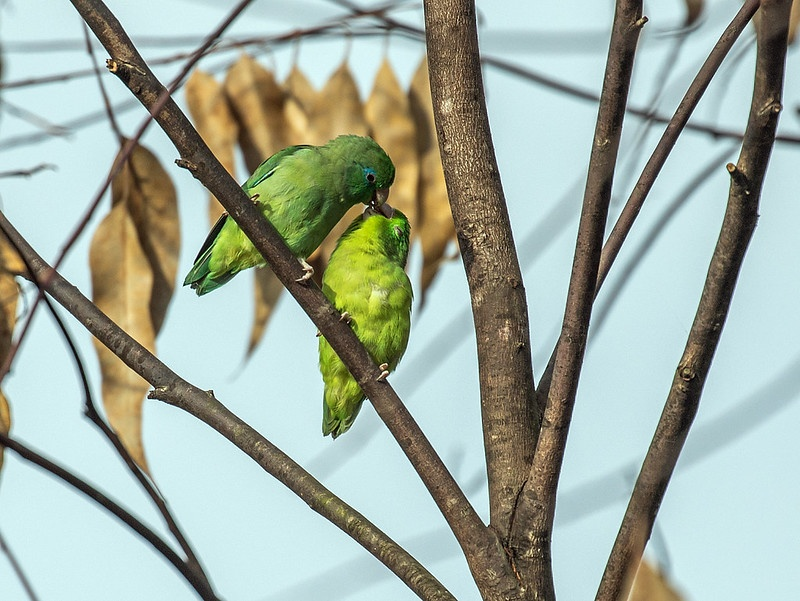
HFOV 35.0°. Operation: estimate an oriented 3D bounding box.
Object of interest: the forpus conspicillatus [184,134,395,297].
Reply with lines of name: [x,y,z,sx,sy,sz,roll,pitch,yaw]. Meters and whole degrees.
forpus conspicillatus: [-0.344,-0.274,3.687,0.648,0.324,0.537,5,-83,20]
